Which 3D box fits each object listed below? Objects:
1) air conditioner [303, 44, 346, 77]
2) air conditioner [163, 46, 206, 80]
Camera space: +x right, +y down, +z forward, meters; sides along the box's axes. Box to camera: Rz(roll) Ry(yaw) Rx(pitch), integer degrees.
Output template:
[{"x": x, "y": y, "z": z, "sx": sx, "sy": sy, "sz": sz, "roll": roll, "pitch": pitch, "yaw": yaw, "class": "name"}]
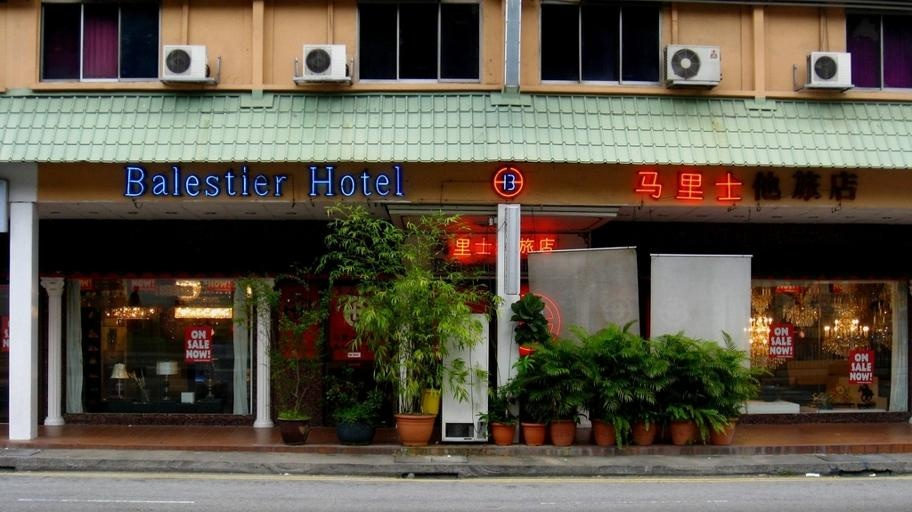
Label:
[{"x": -3.851, "y": -5.451, "z": 41.620, "sx": 1.431, "sy": 0.923, "sz": 0.789, "roll": -4, "pitch": 8, "yaw": -36, "class": "air conditioner"}, {"x": -7.444, "y": -5.384, "z": 41.604, "sx": 1.425, "sy": 0.942, "sz": 0.761, "roll": 4, "pitch": 5, "yaw": 23, "class": "air conditioner"}]
